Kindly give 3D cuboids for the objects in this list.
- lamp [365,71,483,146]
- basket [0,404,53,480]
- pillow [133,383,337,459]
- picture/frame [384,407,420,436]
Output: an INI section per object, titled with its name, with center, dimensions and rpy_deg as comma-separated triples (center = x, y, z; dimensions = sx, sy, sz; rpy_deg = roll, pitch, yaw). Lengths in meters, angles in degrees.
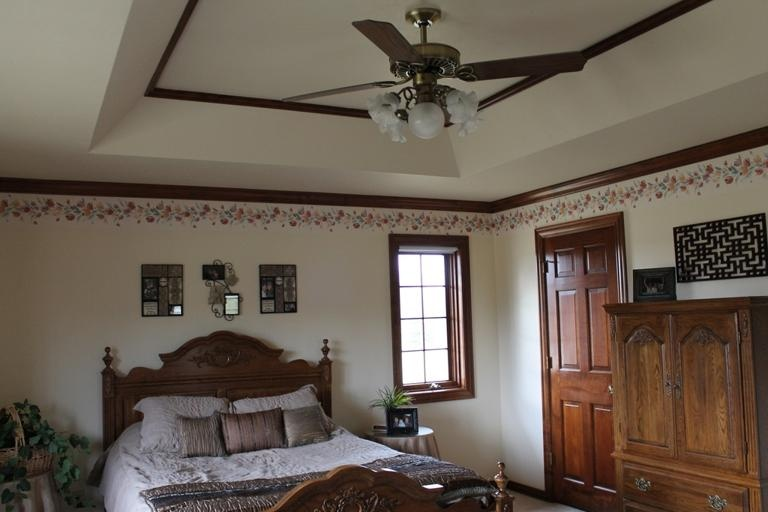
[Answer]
[lamp]
center = 0.277, -0.902, 3.249
dimensions = 0.622, 0.312, 0.663
rpy_deg = 0, -1, 15
[basket]
center = -3.046, 1.586, 4.470
dimensions = 0.357, 0.681, 0.349
rpy_deg = 1, 0, -30
[pillow]
center = -1.759, 1.489, 4.813
dimensions = 1.356, 0.489, 0.210
rpy_deg = 3, -27, -30
[picture/frame]
center = 0.193, 1.765, 5.575
dimensions = 0.271, 0.227, 0.027
rpy_deg = 0, -16, -4
